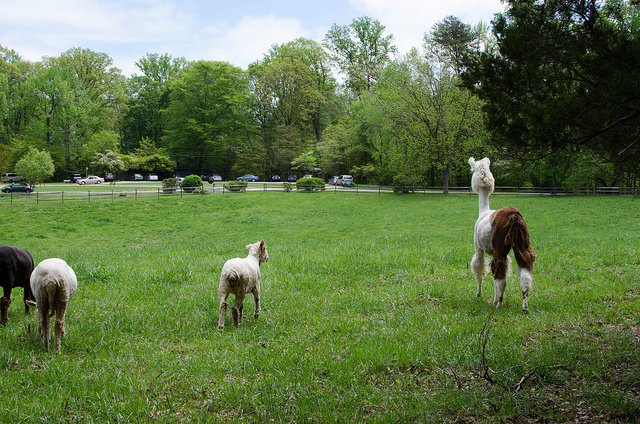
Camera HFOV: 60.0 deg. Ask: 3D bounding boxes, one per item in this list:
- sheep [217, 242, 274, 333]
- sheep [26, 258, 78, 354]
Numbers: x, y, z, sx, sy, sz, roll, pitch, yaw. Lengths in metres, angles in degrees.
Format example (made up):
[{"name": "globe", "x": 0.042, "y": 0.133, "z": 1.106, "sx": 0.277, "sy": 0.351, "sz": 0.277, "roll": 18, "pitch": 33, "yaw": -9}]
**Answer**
[{"name": "sheep", "x": -2.192, "y": 1.980, "z": 16.496, "sx": 1.289, "sy": 2.194, "sz": 3.771, "roll": 1, "pitch": 3, "yaw": -5}, {"name": "sheep", "x": -6.749, "y": 2.343, "z": 14.153, "sx": 0.908, "sy": 2.255, "sz": 1.238, "roll": -1, "pitch": 4, "yaw": -35}]
